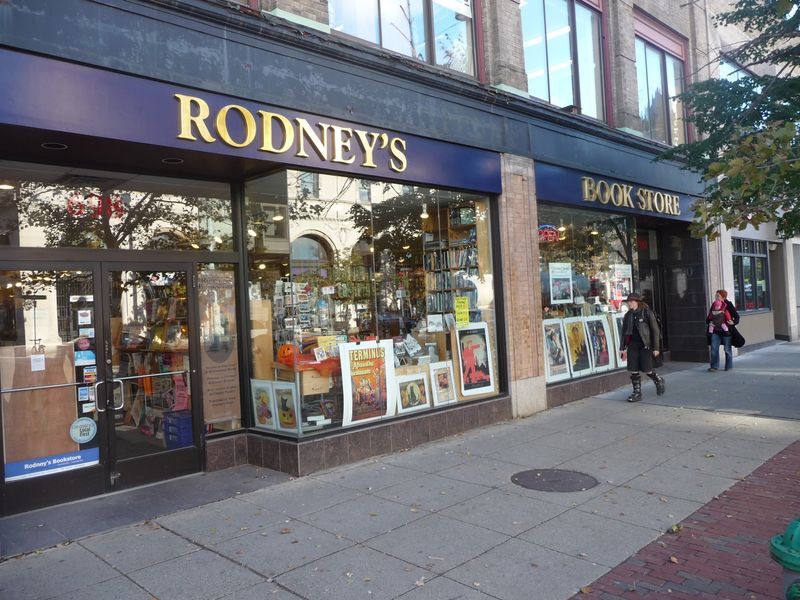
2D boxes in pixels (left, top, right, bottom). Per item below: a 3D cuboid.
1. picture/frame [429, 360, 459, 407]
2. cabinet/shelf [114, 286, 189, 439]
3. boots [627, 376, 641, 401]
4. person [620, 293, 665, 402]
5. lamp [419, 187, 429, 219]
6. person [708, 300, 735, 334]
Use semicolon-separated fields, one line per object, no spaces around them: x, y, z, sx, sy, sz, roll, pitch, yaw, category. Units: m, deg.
0.688;1.396;9.953;0.717;0.955;0.046;6;-16;-45;picture/frame
-3.266;0.818;7.877;0.988;2.335;0.356;-4;5;-30;cabinet/shelf
4.657;1.717;11.962;0.262;0.493;0.670;0;5;21;boots
4.875;0.922;12.139;0.809;2.095;1.167;1;5;26;person
0.402;-1.586;9.990;0.098;0.492;0.242;2;6;36;lamp
7.907;0.417;14.908;0.631;0.748;0.312;0;6;41;person
